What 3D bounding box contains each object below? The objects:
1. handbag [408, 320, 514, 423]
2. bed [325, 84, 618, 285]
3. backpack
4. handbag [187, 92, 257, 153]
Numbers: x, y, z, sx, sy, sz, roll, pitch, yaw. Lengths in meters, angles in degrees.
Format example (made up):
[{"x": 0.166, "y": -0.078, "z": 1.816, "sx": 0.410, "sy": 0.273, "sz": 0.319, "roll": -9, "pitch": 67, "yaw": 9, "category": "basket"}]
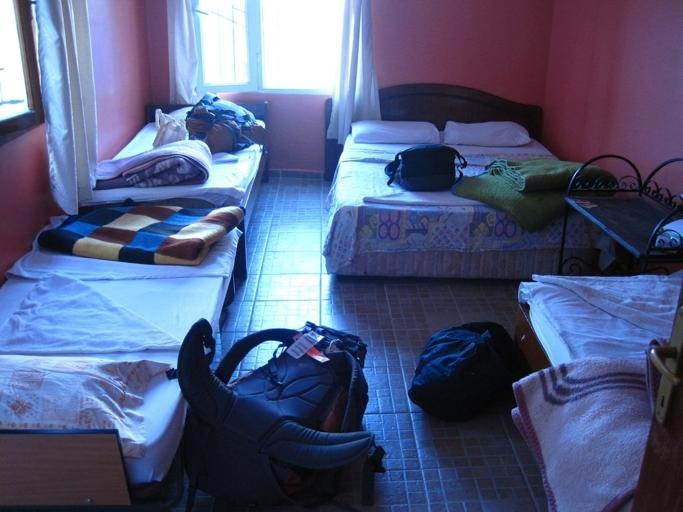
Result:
[{"x": 0.578, "y": 0.484, "z": 2.435, "sx": 0.433, "sy": 0.302, "sz": 0.531, "roll": 10, "pitch": 32, "yaw": 21, "category": "handbag"}, {"x": 0.750, "y": -0.661, "z": 4.022, "sx": 1.974, "sy": 0.860, "sz": 2.161, "roll": 0, "pitch": 30, "yaw": 5, "category": "bed"}, {"x": -0.217, "y": 0.468, "z": 1.828, "sx": 0.679, "sy": 0.374, "sz": 0.704, "roll": 6, "pitch": 39, "yaw": 10, "category": "backpack"}, {"x": -0.934, "y": -1.010, "z": 3.927, "sx": 0.439, "sy": 0.208, "sz": 0.550, "roll": -9, "pitch": 37, "yaw": -40, "category": "handbag"}]
